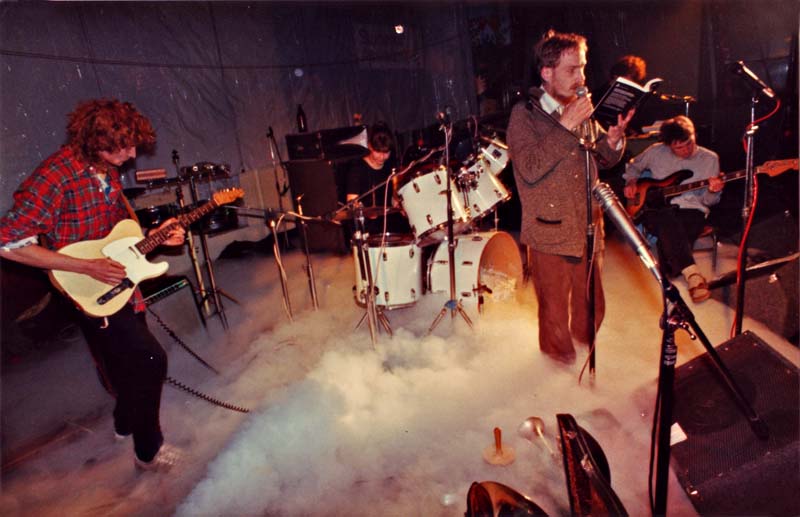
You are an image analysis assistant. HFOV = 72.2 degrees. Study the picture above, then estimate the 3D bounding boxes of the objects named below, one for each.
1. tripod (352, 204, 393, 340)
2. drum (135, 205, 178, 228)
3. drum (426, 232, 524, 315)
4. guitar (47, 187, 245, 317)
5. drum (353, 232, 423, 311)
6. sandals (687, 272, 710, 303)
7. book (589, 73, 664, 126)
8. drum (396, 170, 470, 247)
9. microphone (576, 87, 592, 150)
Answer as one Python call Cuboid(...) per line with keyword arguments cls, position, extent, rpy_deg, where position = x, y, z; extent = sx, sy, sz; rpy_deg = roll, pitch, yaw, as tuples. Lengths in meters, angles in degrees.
Cuboid(cls="tripod", position=(-0.341, 0.129, 5.551), extent=(0.357, 1.429, 0.698), rpy_deg=(-10, 19, -6))
Cuboid(cls="drum", position=(-2.473, -0.425, 5.612), extent=(0.309, 0.184, 0.478), rpy_deg=(3, 12, 12))
Cuboid(cls="drum", position=(0.873, 0.183, 6.083), extent=(0.830, 0.999, 1.103), rpy_deg=(-1, 6, 30))
Cuboid(cls="guitar", position=(-2.396, -0.052, 5.183), extent=(0.162, 0.588, 1.649), rpy_deg=(-25, 4, 37))
Cuboid(cls="drum", position=(-0.210, 0.127, 5.946), extent=(0.805, 0.700, 0.796), rpy_deg=(1, 10, -5))
Cuboid(cls="sandals", position=(3.026, 0.310, 5.587), extent=(0.146, 0.106, 0.363), rpy_deg=(-18, 49, 30))
Cuboid(cls="book", position=(1.565, -1.135, 3.891), extent=(0.335, 0.127, 0.354), rpy_deg=(-6, -12, -3))
Cuboid(cls="drum", position=(0.348, -0.549, 5.593), extent=(0.601, 0.605, 0.585), rpy_deg=(-13, -7, -46))
Cuboid(cls="microphone", position=(1.348, -1.037, 4.055), extent=(0.092, 0.428, 0.301), rpy_deg=(-1, 20, 19))
